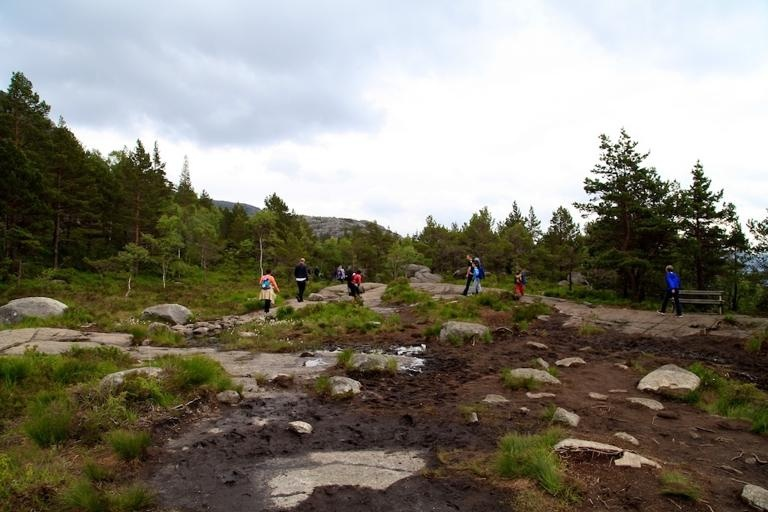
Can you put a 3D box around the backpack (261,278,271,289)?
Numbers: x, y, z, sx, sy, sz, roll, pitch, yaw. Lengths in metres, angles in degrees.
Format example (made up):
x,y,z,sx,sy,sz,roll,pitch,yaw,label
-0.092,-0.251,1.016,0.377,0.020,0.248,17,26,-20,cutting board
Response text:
x,y,z,sx,sy,sz,roll,pitch,yaw,label
-6.145,1.402,26.760,0.413,0.502,0.565,-2,-14,-6,backpack
